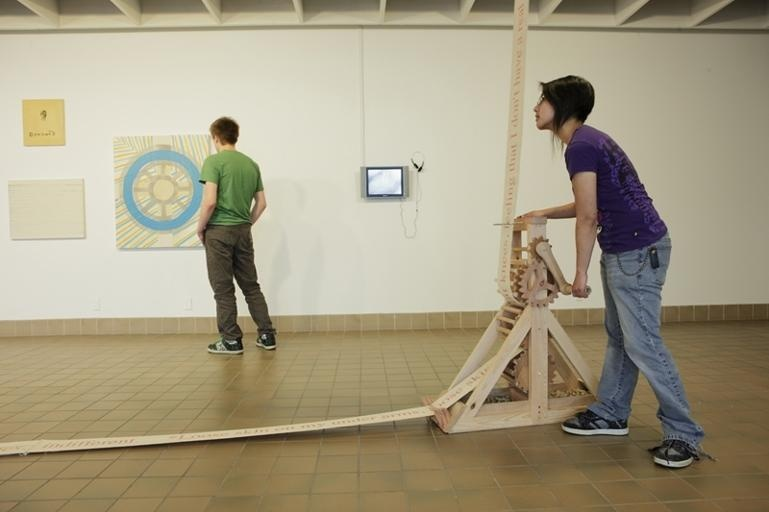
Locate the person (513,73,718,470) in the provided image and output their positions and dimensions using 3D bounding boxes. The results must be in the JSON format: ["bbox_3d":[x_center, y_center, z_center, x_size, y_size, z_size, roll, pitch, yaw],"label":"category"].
[{"bbox_3d":[1.602,0.048,3.907,1.151,2.581,0.444,4,9,32],"label":"person"}]

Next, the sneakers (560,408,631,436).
[{"bbox_3d":[1.467,1.178,4.062,0.492,0.210,0.182,4,-6,5],"label":"sneakers"}]

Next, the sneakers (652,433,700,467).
[{"bbox_3d":[1.906,1.271,3.716,0.263,0.113,0.159,0,-2,-5],"label":"sneakers"}]

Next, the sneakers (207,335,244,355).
[{"bbox_3d":[-1.602,0.899,5.801,0.403,0.181,0.148,2,-2,13],"label":"sneakers"}]

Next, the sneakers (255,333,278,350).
[{"bbox_3d":[-1.223,0.882,5.884,0.106,0.118,0.273,-1,4,-19],"label":"sneakers"}]

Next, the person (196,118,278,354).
[{"bbox_3d":[-1.555,-0.231,5.823,0.696,2.371,0.565,-4,8,-23],"label":"person"}]
